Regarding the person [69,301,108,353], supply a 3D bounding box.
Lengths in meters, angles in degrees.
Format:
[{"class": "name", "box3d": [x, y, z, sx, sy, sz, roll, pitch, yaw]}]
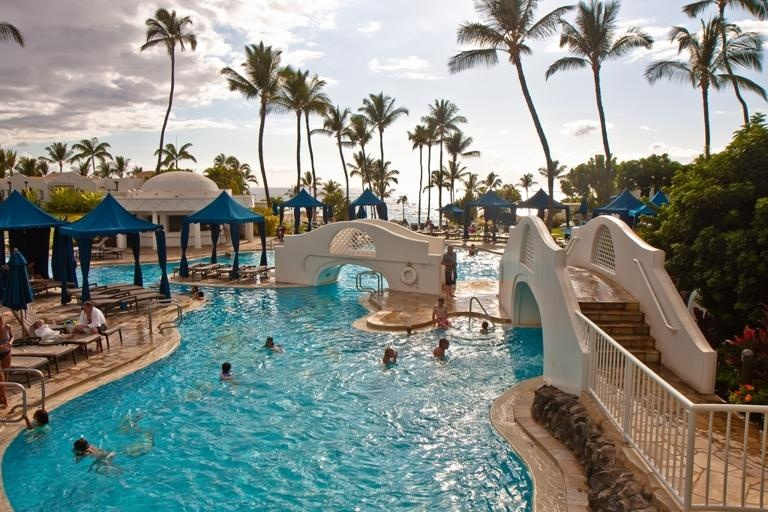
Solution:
[{"class": "person", "box3d": [-9.308, 2.188, 16.229, 1.081, 1.285, 1.085, 5, 7, 37]}]

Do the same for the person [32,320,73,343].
[{"class": "person", "box3d": [-10.047, 2.285, 15.356, 1.301, 0.617, 0.644, 1, 12, 10]}]

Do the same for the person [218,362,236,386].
[{"class": "person", "box3d": [-4.688, 3.458, 15.309, 0.416, 0.497, 0.935, -5, 12, -18]}]

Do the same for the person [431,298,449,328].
[{"class": "person", "box3d": [2.079, 2.072, 18.654, 0.552, 1.083, 0.621, 0, 13, 6]}]

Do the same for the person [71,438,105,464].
[{"class": "person", "box3d": [-7.007, 4.578, 12.140, 0.858, 0.474, 0.408, -2, 12, -2]}]

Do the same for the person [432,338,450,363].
[{"class": "person", "box3d": [1.840, 2.970, 16.504, 0.455, 0.585, 1.040, 1, 12, 11]}]

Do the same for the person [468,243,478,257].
[{"class": "person", "box3d": [6.247, -0.340, 35.977, 0.696, 0.768, 1.461, -7, 23, 5]}]
